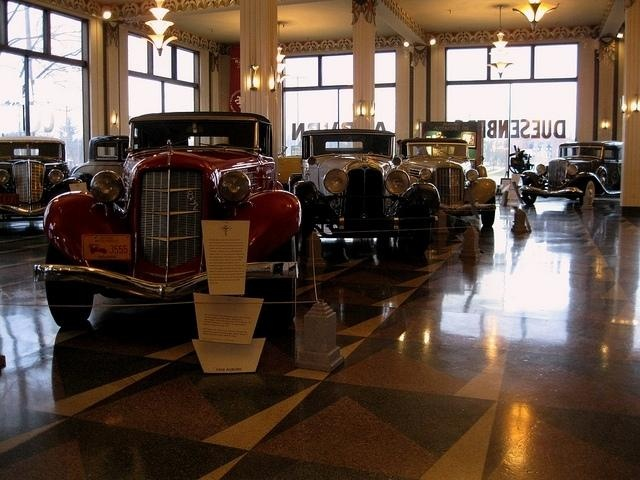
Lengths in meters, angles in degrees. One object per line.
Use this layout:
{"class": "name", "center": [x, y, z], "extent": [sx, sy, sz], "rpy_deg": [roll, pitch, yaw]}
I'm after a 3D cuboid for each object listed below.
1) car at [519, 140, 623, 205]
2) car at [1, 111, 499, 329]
{"class": "car", "center": [7.822, -2.053, 14.655], "extent": [3.858, 1.695, 2.022], "rpy_deg": [-8, 11, -37]}
{"class": "car", "center": [-0.502, -0.421, 4.949], "extent": [2.206, 1.667, 4.494], "rpy_deg": [5, 11, 28]}
